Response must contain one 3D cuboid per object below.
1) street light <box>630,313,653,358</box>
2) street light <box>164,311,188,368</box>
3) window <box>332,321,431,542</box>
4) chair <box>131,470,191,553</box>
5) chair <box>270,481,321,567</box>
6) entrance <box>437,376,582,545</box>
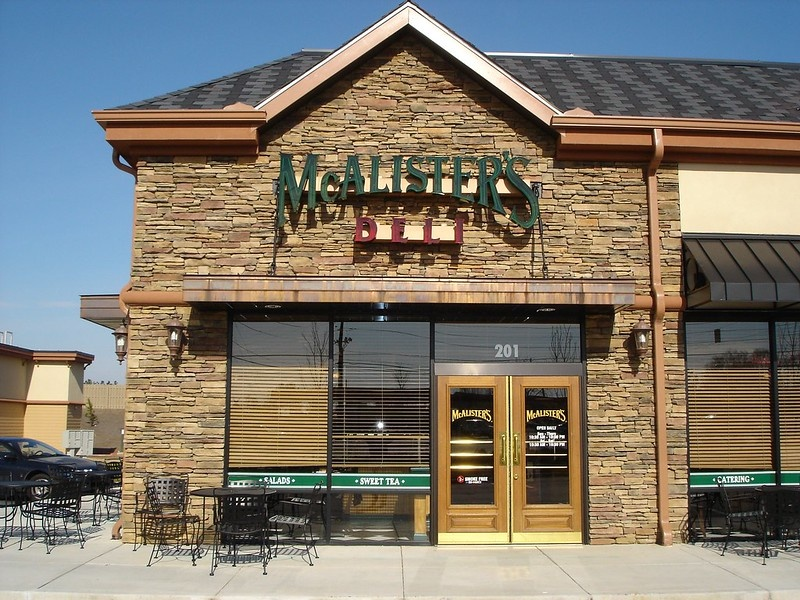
[{"bbox_3d":[4.765,0.765,21.397,0.391,0.762,0.323,-1,7,-10],"label":"street light"},{"bbox_3d":[-4.360,0.834,21.229,0.342,1.047,0.434,2,7,11],"label":"street light"},{"bbox_3d":[-0.377,2.658,21.251,1.878,3.951,1.003,0,7,-3],"label":"window"},{"bbox_3d":[-4.504,4.143,20.992,0.989,1.249,0.872,-2,-8,-15],"label":"chair"},{"bbox_3d":[-2.022,4.341,21.033,1.171,1.336,0.923,-4,-11,8],"label":"chair"},{"bbox_3d":[2.068,3.291,21.213,3.892,3.521,0.460,1,-7,-4],"label":"entrance"}]
